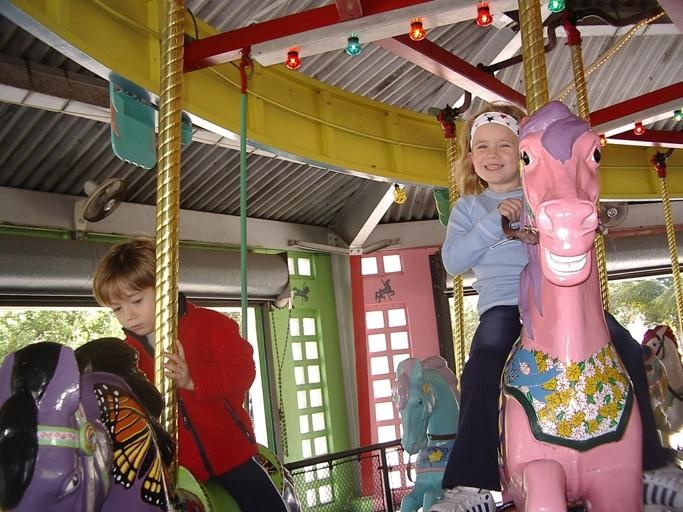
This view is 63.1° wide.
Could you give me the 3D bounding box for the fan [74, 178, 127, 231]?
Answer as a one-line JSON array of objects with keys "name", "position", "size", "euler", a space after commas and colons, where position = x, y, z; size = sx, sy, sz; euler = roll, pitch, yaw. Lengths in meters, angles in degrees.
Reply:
[{"name": "fan", "position": [-2.759, -0.592, 6.272], "size": [0.383, 0.306, 0.565], "euler": [-24, -25, -51]}]
